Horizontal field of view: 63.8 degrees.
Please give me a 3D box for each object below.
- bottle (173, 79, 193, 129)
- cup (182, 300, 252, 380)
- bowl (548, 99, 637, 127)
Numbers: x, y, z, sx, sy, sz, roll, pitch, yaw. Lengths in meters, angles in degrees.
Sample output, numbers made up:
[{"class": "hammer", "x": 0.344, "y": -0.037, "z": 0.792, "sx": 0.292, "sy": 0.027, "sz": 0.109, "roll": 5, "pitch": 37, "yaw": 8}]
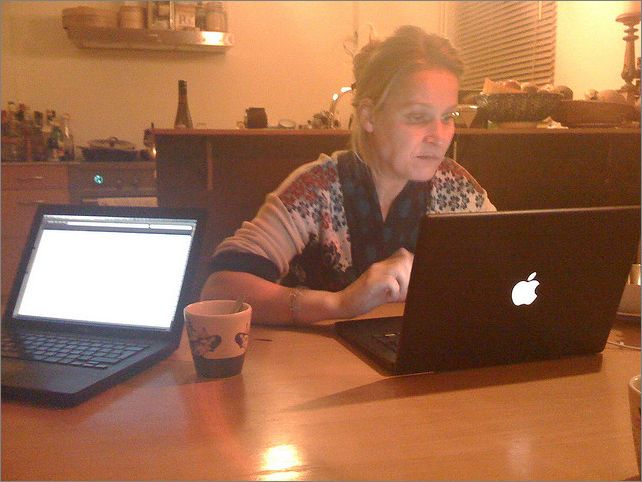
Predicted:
[{"class": "bottle", "x": -0.887, "y": -0.883, "z": 3.300, "sx": 0.100, "sy": 0.299, "sz": 0.472, "roll": -3, "pitch": 15, "yaw": -14}, {"class": "cup", "x": -0.161, "y": 0.152, "z": 0.823, "sx": 0.099, "sy": 0.105, "sz": 0.120, "roll": 10, "pitch": 18, "yaw": 29}, {"class": "bowl", "x": 1.145, "y": -0.522, "z": 2.124, "sx": 0.357, "sy": 0.111, "sz": 0.132, "roll": -1, "pitch": 15, "yaw": -6}]
